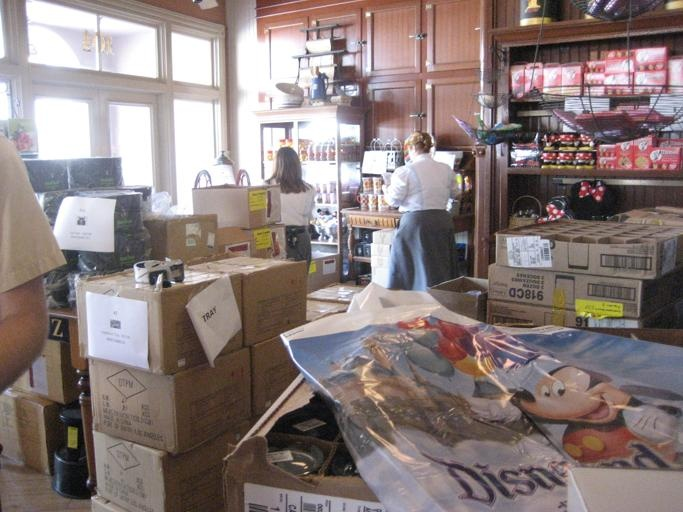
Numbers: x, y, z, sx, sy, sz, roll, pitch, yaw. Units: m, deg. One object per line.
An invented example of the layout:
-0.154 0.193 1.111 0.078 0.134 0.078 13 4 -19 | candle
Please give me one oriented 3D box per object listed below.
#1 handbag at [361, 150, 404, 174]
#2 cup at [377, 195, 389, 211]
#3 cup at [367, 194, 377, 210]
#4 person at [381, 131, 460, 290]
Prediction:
0.440 -1.050 6.105 0.519 0.355 0.285 6 13 28 | handbag
0.450 -0.560 5.720 0.167 0.167 0.164 -1 7 0 | cup
0.334 -0.578 5.853 0.142 0.190 0.149 2 3 0 | cup
0.691 -0.293 4.672 0.596 1.498 0.561 -4 25 -1 | person
